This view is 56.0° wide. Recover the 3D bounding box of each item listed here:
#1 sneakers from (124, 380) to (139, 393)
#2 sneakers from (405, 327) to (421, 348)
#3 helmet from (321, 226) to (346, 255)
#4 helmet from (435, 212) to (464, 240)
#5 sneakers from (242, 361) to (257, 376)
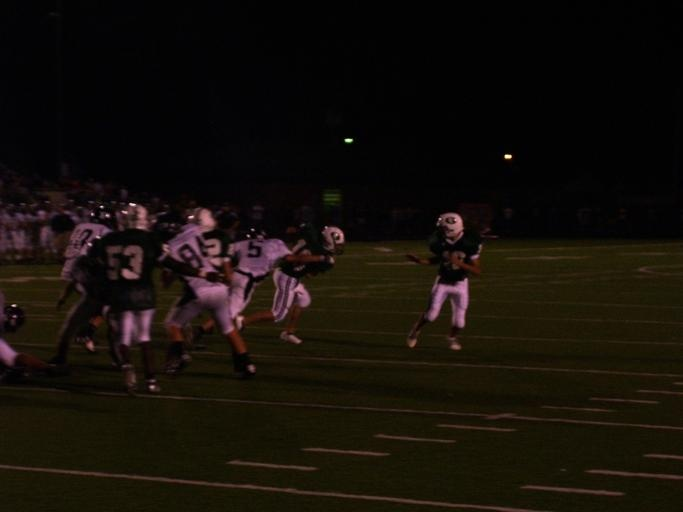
[{"bbox_3d":[-2.280,1.454,7.153,0.225,0.122,0.199,1,-1,-26],"label":"sneakers"},{"bbox_3d":[1.148,1.228,9.947,0.159,0.159,0.388,28,42,-6],"label":"sneakers"},{"bbox_3d":[-0.051,-0.274,10.373,0.548,0.401,0.370,-1,9,-25],"label":"helmet"},{"bbox_3d":[1.699,-0.476,10.003,0.624,0.414,0.395,9,1,7],"label":"helmet"},{"bbox_3d":[-1.125,1.398,7.979,0.178,0.169,0.208,4,-3,-22],"label":"sneakers"}]
